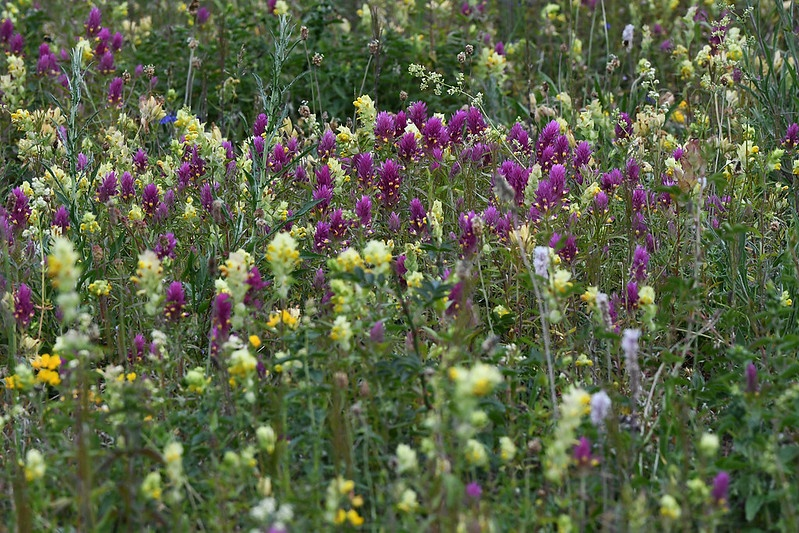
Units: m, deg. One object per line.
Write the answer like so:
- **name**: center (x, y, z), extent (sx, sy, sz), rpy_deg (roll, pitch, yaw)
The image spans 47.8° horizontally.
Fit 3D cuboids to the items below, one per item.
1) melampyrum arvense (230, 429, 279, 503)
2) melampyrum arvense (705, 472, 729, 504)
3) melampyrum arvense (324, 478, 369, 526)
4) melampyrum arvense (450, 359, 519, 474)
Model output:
- **melampyrum arvense**: center (-0.585, 0.794, 3.679), extent (0.177, 0.132, 0.305), rpy_deg (4, 5, -4)
- **melampyrum arvense**: center (1.187, 0.810, 3.337), extent (0.056, 0.119, 0.122), rpy_deg (-1, 3, 24)
- **melampyrum arvense**: center (-0.218, 0.946, 3.626), extent (0.158, 0.254, 0.349), rpy_deg (-2, -19, -4)
- **melampyrum arvense**: center (0.330, 0.591, 3.523), extent (0.199, 0.219, 0.492), rpy_deg (-10, -34, -3)
